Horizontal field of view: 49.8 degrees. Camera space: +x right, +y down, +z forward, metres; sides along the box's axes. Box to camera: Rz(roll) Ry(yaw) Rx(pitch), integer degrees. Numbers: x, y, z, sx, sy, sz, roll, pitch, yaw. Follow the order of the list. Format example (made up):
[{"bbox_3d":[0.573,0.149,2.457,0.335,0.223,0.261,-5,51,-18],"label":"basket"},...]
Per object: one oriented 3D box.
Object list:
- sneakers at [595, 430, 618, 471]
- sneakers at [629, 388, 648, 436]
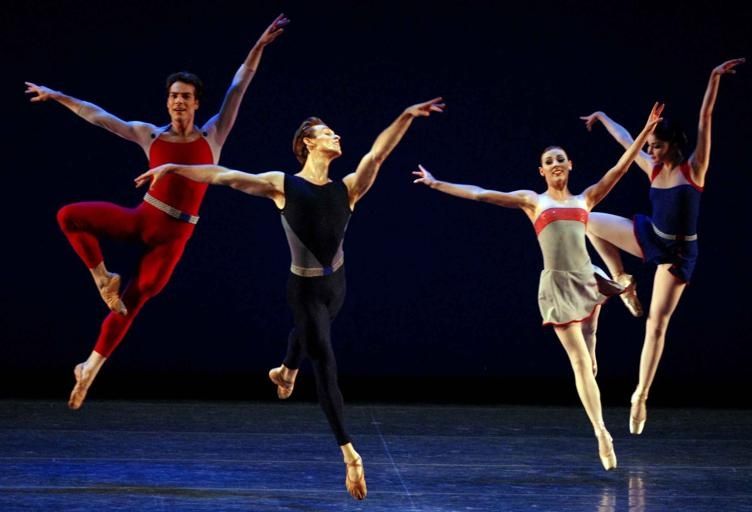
[{"bbox_3d":[1.255,1.084,4.510,0.105,0.263,0.121,-8,-30,11],"label":"sneakers"},{"bbox_3d":[1.668,1.027,5.267,0.135,0.335,0.144,0,6,7],"label":"sneakers"}]
